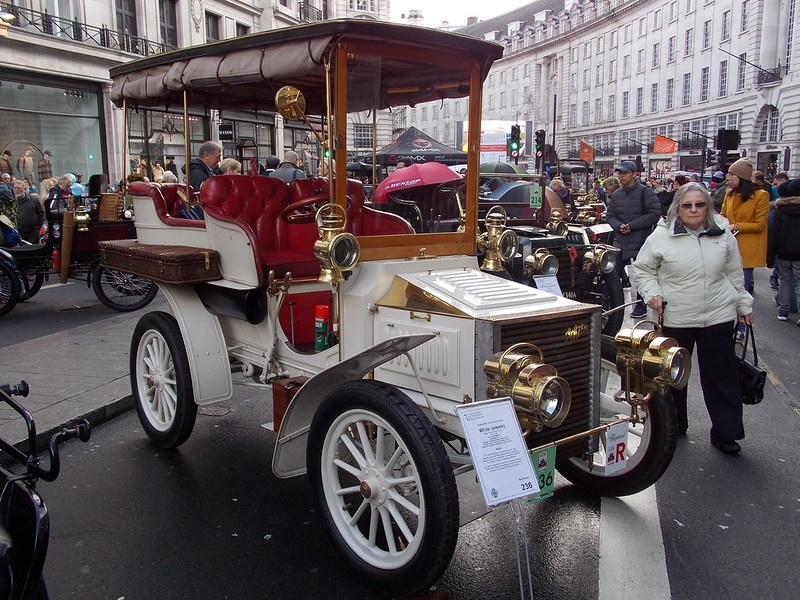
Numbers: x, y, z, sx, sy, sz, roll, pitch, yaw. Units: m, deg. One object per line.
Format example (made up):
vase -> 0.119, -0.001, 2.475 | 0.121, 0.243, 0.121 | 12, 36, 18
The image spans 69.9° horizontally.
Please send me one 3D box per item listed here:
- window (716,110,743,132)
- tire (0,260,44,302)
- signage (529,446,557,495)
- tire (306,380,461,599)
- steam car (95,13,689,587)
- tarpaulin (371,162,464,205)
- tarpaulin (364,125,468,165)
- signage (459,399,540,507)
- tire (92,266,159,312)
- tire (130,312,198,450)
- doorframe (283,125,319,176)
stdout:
window -> 25.506, -13.856, 44.570 | 0.704, 1.209, 4.112 | 2, 15, 13
tire -> -6.828, -0.306, 10.483 | 0.660, 0.774, 0.163 | 6, 8, -1
signage -> 0.814, 0.983, 3.298 | 0.021, 0.328, 0.293 | 0, 1, 42
tire -> -0.094, 1.126, 3.404 | 0.183, 1.064, 0.947 | -4, 17, -43
steam car -> -0.140, -0.307, 5.339 | 2.904, 3.910, 4.885 | -6, 10, -41
tarpaulin -> 0.275, -1.424, 6.883 | 1.058, 0.339, 1.055 | -11, -4, 21
tarpaulin -> 0.154, -1.518, 5.837 | 1.046, 0.471, 1.073 | -4, 7, -15
signage -> 0.518, 0.800, 3.039 | 0.414, 0.525, 0.228 | -9, 16, -31
tire -> -4.468, -0.150, 9.311 | 0.685, 0.824, 0.131 | -2, 4, -21
tire -> -2.122, 0.739, 5.205 | 0.223, 1.095, 0.977 | -7, 13, -36
doorframe -> -0.878, -1.347, 5.190 | 0.015, 0.418, 0.631 | 5, 9, 43
